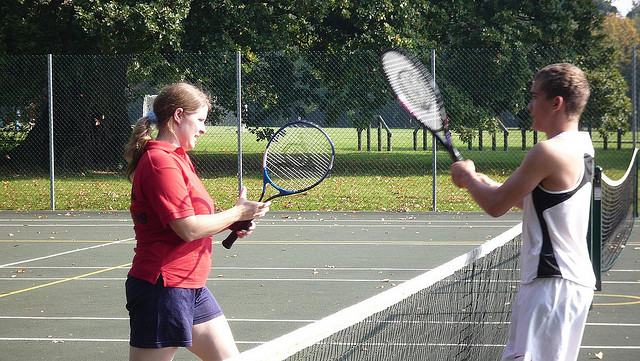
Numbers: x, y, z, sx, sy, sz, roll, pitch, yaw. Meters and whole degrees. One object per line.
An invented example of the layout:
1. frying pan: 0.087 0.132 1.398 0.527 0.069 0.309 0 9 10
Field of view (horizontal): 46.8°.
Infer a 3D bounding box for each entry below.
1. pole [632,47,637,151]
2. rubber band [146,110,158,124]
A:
1. pole: 8.663 -2.312 20.248 0.126 2.613 0.460 1 4 22
2. rubber band: -2.484 -0.927 10.832 0.105 0.201 0.214 -3 4 -36
